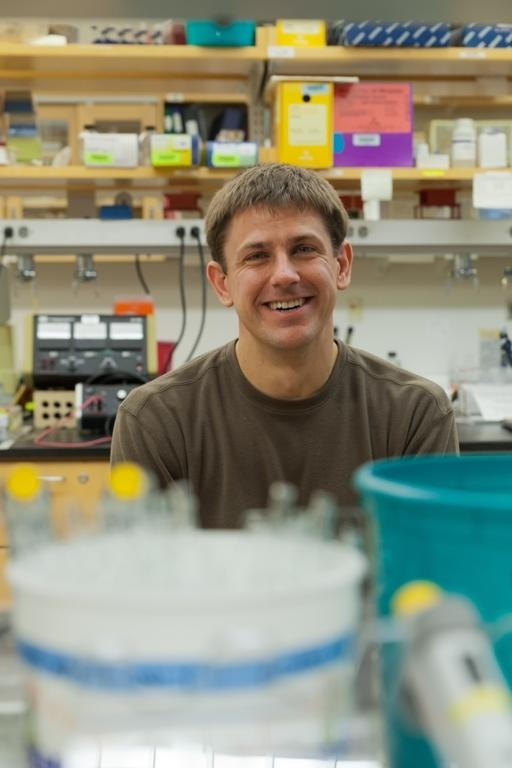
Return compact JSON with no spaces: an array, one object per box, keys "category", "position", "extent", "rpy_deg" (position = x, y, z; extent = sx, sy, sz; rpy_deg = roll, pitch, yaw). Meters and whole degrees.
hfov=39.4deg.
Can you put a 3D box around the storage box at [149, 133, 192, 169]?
[{"category":"storage box","position":[-0.281,-0.768,2.357],"extent":[0.190,0.120,0.098],"rpy_deg":[-1,3,-6]}]

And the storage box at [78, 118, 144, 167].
[{"category":"storage box","position":[-0.511,-0.842,2.508],"extent":[0.209,0.193,0.272],"rpy_deg":[-5,11,-7]}]

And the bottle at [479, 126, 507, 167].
[{"category":"bottle","position":[0.826,-0.825,2.502],"extent":[0.097,0.153,0.141],"rpy_deg":[0,11,17]}]

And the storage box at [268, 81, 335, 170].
[{"category":"storage box","position":[0.166,-0.871,2.416],"extent":[0.190,0.288,0.091],"rpy_deg":[-3,11,4]}]

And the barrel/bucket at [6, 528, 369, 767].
[{"category":"barrel/bucket","position":[-0.033,0.088,0.339],"extent":[0.133,0.073,0.125],"rpy_deg":[0,2,0]}]

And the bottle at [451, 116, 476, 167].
[{"category":"bottle","position":[0.729,-0.844,2.523],"extent":[0.089,0.162,0.144],"rpy_deg":[0,11,17]}]
